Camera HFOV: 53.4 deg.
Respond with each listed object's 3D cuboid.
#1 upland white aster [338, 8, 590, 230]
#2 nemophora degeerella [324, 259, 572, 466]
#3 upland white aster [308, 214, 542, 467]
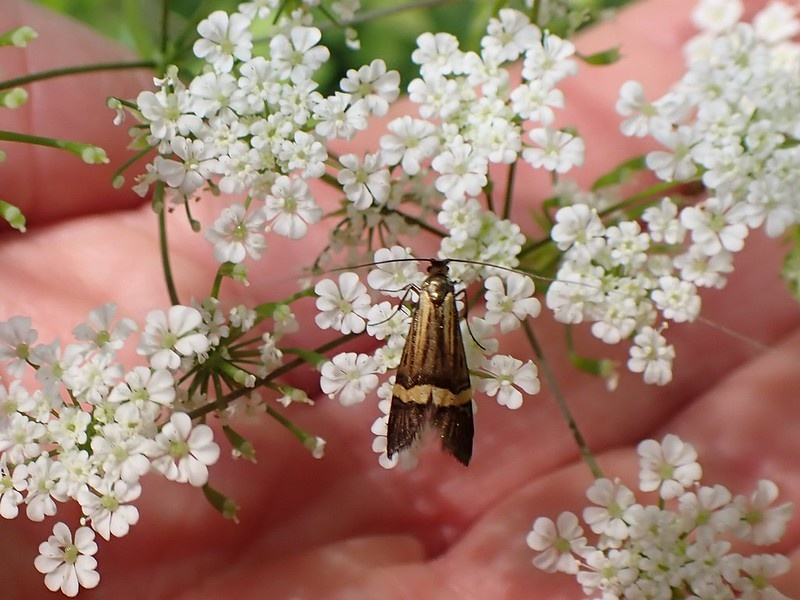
[{"bbox_3d":[0.217,-0.500,2.408,0.594,0.518,0.665,1,-82,29],"label":"upland white aster"},{"bbox_3d":[0.109,0.165,2.463,0.480,0.664,0.146,4,-15,3],"label":"nemophora degeerella"},{"bbox_3d":[0.082,0.067,2.430,0.422,0.570,0.704,8,-73,24],"label":"upland white aster"}]
